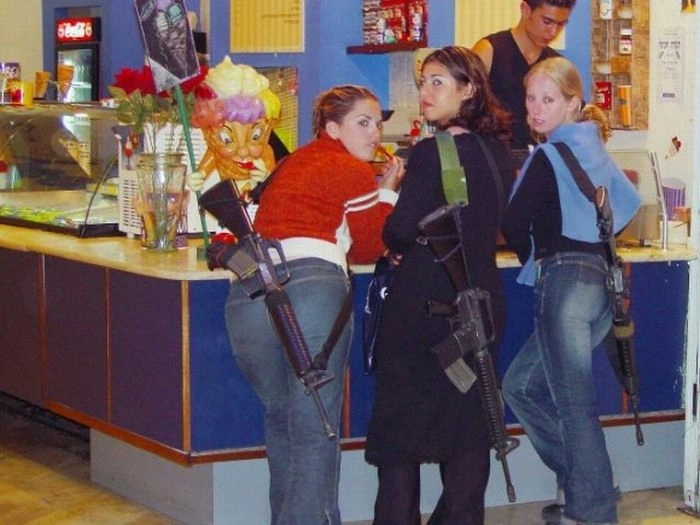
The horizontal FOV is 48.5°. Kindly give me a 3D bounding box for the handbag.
[{"bbox_3d":[0.095,0.192,3.048,0.129,0.470,0.118,12,0,26],"label":"handbag"}]

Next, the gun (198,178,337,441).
[{"bbox_3d":[-0.296,0.172,2.895,0.370,1.124,0.126,-24,-10,15],"label":"gun"}]

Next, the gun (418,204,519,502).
[{"bbox_3d":[0.445,0.325,2.887,0.407,1.089,0.253,1,4,1],"label":"gun"}]

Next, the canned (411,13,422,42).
[{"bbox_3d":[0.491,-1.731,5.727,0.110,0.225,0.081,2,4,14],"label":"canned"}]

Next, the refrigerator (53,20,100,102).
[{"bbox_3d":[-2.800,-2.145,8.093,0.445,0.989,1.173,-1,5,-21],"label":"refrigerator"}]
